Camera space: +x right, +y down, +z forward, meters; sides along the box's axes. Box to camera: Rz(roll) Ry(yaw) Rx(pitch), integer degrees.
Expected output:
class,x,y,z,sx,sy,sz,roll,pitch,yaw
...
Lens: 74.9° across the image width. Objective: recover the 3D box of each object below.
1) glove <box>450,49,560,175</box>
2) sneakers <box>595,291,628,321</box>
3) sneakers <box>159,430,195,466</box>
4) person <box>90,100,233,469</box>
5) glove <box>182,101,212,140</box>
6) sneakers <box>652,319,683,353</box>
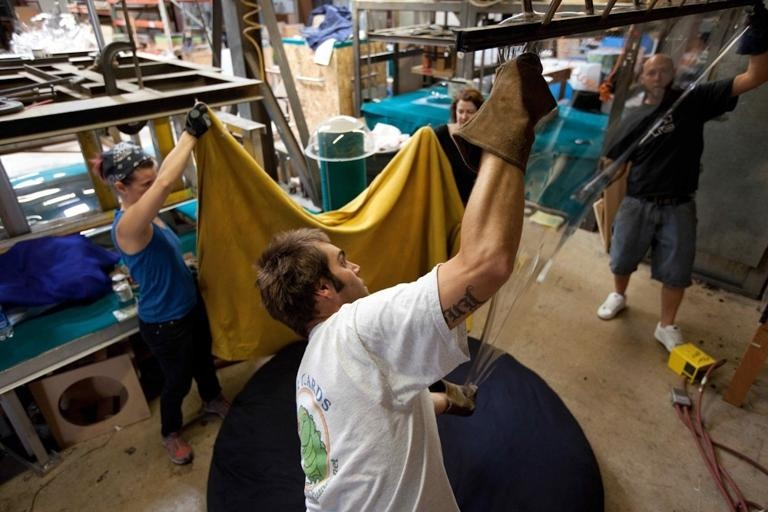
class,x,y,z,sx,sy,sz,roll,pitch,yaw
glove,0.468,-0.561,1.917,0.273,0.391,0.332,20,34,33
sneakers,1.971,0.445,4.386,0.327,0.140,0.153,-33,47,-6
sneakers,-1.417,1.338,3.460,0.266,0.119,0.139,26,33,36
person,-1.379,0.198,3.292,0.662,2.354,0.724,-20,34,-32
glove,-1.030,-0.745,2.760,0.132,0.184,0.078,10,10,7
sneakers,2.292,0.643,4.090,0.115,0.142,0.329,-17,21,-2
